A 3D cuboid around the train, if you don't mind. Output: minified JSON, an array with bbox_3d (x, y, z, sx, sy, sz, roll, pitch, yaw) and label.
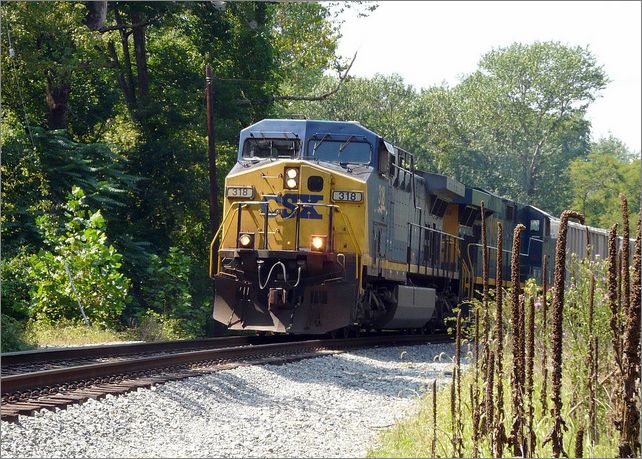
[{"bbox_3d":[4.491,0.400,24.518,4.115,6.076,21.353,0,-2,26],"label":"train"}]
